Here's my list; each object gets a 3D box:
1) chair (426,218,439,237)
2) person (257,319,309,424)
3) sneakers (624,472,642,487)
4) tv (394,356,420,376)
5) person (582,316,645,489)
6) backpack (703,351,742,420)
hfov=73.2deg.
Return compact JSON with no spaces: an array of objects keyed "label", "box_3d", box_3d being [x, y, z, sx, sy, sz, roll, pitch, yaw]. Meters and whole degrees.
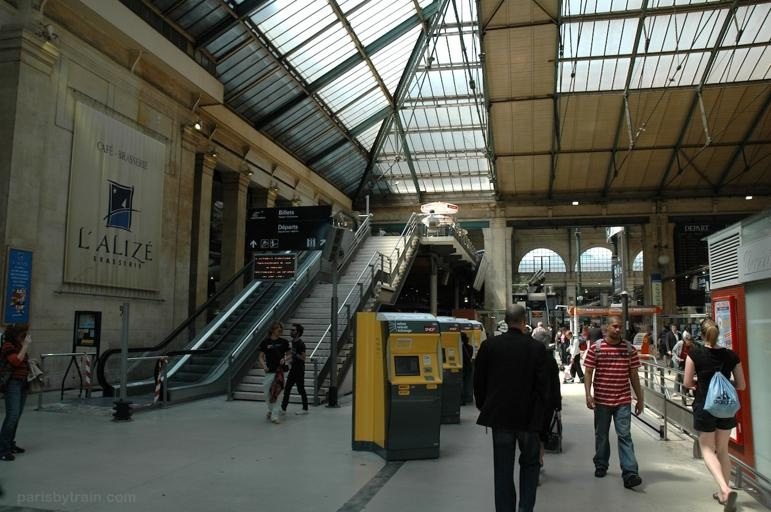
[{"label":"chair","box_3d":[2.754,-1.596,29.156,0.909,1.082,0.873,1,2,15]},{"label":"person","box_3d":[-2.427,2.723,12.331,1.126,2.239,1.232,4,-9,-4]},{"label":"sneakers","box_3d":[3.781,3.445,7.933,0.157,0.216,0.318,9,-29,-13]},{"label":"tv","box_3d":[0.345,1.922,9.192,0.600,0.397,0.306,2,-19,-12]},{"label":"person","box_3d":[3.682,2.291,8.378,0.841,2.650,0.715,-1,-10,22]},{"label":"backpack","box_3d":[4.879,1.940,7.552,0.601,0.672,0.322,-4,3,11]}]
